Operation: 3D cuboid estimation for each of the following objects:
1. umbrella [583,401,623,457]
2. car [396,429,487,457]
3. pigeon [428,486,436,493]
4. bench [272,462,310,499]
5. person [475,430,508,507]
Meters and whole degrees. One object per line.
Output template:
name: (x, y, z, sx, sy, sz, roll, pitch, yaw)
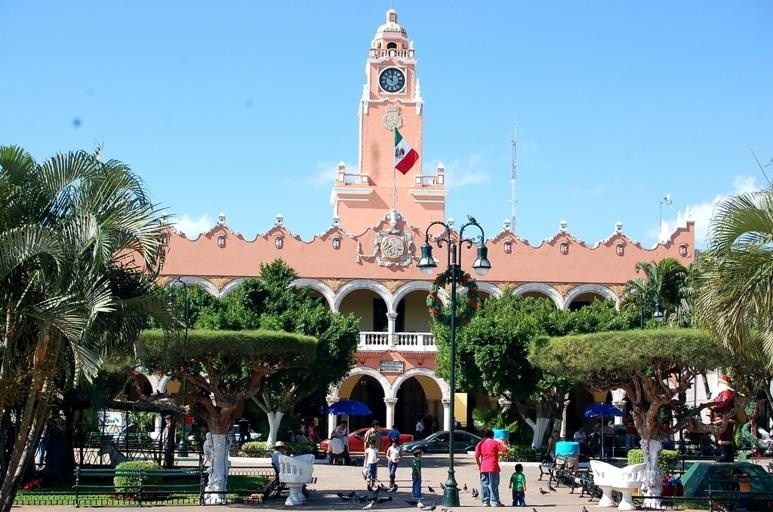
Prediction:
umbrella: (9.492, 7.799, 59.257, 1.743, 2.467, 1.659, 0, -5, 11)
car: (2.419, 8.052, 58.382, 3.813, 1.321, 1.808, 3, -7, -14)
pigeon: (1.462, 7.399, 43.412, 0.176, 0.298, 0.367, 11, -16, -19)
bench: (-3.049, 7.172, 43.171, 1.112, 1.543, 1.104, -3, -5, 12)
person: (3.211, 6.525, 41.727, 0.771, 2.020, 1.098, -1, -4, 9)
